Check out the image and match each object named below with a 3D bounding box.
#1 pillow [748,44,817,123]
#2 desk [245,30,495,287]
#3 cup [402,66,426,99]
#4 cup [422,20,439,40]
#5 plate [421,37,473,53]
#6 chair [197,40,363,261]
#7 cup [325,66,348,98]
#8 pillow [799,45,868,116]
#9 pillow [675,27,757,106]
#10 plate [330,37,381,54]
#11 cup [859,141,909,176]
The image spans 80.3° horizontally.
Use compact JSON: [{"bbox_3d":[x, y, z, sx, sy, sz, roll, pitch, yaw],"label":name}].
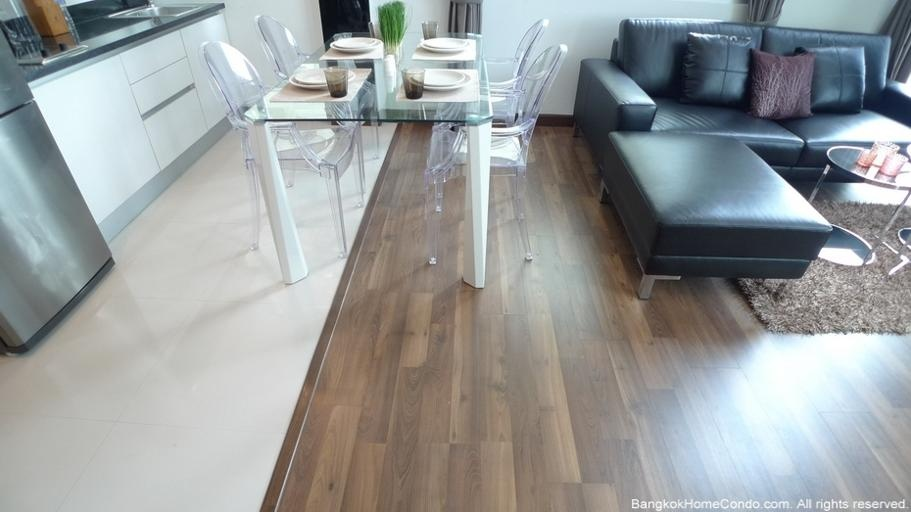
[{"bbox_3d":[2.760,-1.438,4.576,0.709,0.692,0.260,3,14,2],"label":"pillow"},{"bbox_3d":[-0.485,-0.416,4.358,1.582,1.161,2.343,2,49,3],"label":"desk"},{"bbox_3d":[-0.270,-1.127,3.490,0.141,0.176,0.183,-4,36,-5],"label":"cup"},{"bbox_3d":[-0.205,-1.816,4.283,0.158,0.163,0.152,0,45,0],"label":"cup"},{"bbox_3d":[-0.075,-1.638,4.198,0.224,0.029,0.210,5,35,2],"label":"plate"},{"bbox_3d":[-1.112,-0.689,3.911,0.880,1.146,0.925,5,16,-18],"label":"chair"},{"bbox_3d":[-0.759,-1.106,3.448,0.136,0.134,0.128,3,46,-3],"label":"cup"},{"bbox_3d":[3.213,-1.509,4.633,0.646,0.573,0.223,0,13,8],"label":"pillow"},{"bbox_3d":[2.272,-1.635,4.677,0.709,0.697,0.262,5,11,8],"label":"pillow"},{"bbox_3d":[-0.755,-1.606,4.127,0.245,0.039,0.230,3,36,2],"label":"plate"},{"bbox_3d":[3.069,-0.706,3.876,0.284,0.178,0.226,23,42,28],"label":"cup"}]
